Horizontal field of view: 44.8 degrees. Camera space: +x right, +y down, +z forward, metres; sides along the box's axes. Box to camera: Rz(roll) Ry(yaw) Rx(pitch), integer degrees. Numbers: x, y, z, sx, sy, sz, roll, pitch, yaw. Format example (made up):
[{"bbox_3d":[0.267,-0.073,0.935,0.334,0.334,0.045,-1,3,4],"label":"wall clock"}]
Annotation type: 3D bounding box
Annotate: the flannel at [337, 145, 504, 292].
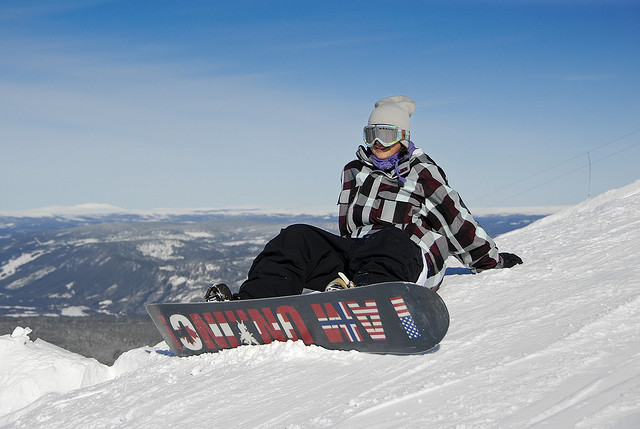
[{"bbox_3d":[0.793,0.011,7.762,2.335,1.269,0.907,4,5,30],"label":"flannel"}]
